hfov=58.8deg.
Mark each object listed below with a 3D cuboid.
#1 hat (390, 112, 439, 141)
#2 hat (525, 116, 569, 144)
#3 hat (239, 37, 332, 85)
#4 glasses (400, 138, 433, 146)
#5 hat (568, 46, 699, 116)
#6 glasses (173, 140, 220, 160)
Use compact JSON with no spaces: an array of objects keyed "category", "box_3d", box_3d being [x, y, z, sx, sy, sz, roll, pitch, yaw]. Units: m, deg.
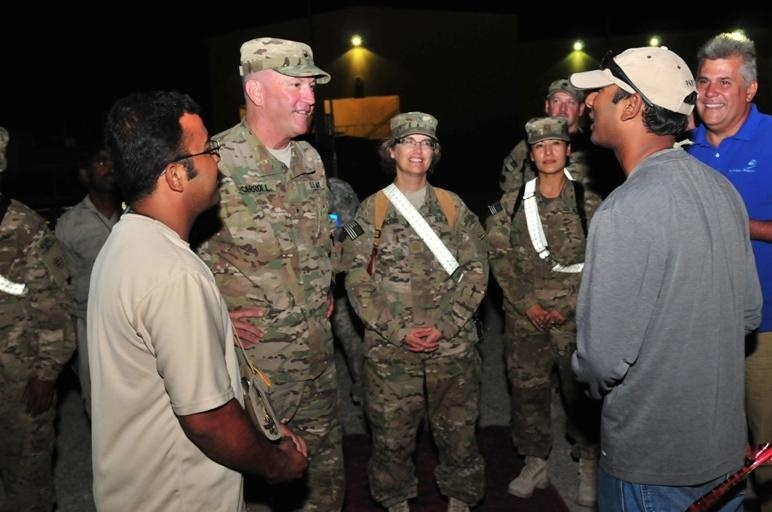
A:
[{"category":"hat","box_3d":[0.216,-1.049,5.536,0.372,0.220,0.258,-3,15,1]},{"category":"hat","box_3d":[1.390,-1.087,5.934,0.357,0.237,0.213,0,15,11]},{"category":"hat","box_3d":[-0.723,-1.382,4.788,0.489,0.194,0.329,2,4,3]},{"category":"glasses","box_3d":[0.246,-0.911,5.462,0.262,0.069,0.057,-4,15,-4]},{"category":"hat","box_3d":[1.502,-1.028,4.147,0.621,0.289,0.456,13,22,19]},{"category":"glasses","box_3d":[-1.041,-0.592,3.839,0.186,0.049,0.136,-12,11,-14]}]
